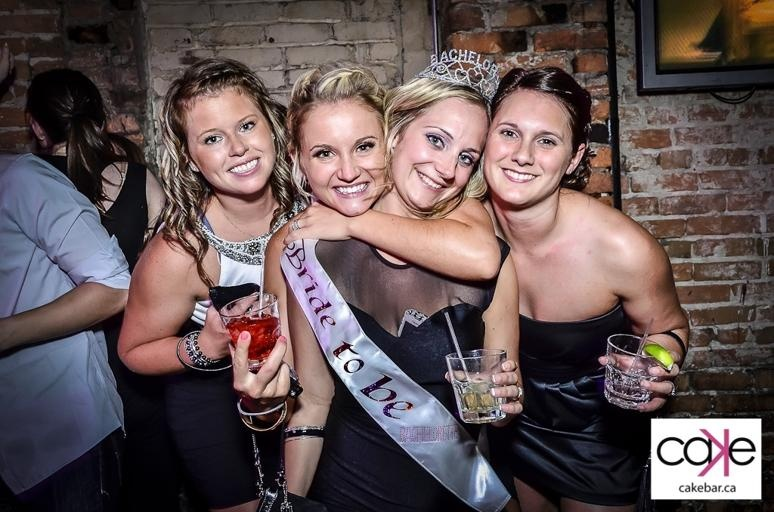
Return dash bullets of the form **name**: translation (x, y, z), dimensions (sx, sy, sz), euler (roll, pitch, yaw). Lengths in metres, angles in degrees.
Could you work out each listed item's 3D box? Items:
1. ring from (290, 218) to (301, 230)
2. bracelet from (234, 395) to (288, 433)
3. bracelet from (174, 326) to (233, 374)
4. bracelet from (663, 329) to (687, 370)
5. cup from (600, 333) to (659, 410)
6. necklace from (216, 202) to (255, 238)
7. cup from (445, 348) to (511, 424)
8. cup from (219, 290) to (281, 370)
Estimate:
- **ring**: translation (-0.399, -0.137, 2.521), dimensions (0.034, 0.045, 0.020), euler (-3, -14, 26)
- **bracelet**: translation (-0.501, 0.646, 2.385), dimensions (0.209, 0.181, 0.083), euler (-11, -13, 26)
- **bracelet**: translation (-0.823, 0.425, 2.580), dimensions (0.169, 0.073, 0.201), euler (22, 9, -7)
- **bracelet**: translation (1.309, 0.411, 2.639), dimensions (0.107, 0.128, 0.130), euler (-1, 10, 3)
- **cup**: translation (1.020, 0.486, 2.460), dimensions (0.197, 0.308, 0.146), euler (2, 11, 19)
- **necklace**: translation (-0.687, -0.181, 2.631), dimensions (0.144, 0.184, 0.117), euler (-3, 1, -7)
- **cup**: translation (0.367, 0.516, 2.425), dimensions (0.274, 0.300, 0.274), euler (-14, -1, 0)
- **cup**: translation (-0.516, 0.303, 2.248), dimensions (0.240, 0.269, 0.252), euler (-2, -8, 0)
